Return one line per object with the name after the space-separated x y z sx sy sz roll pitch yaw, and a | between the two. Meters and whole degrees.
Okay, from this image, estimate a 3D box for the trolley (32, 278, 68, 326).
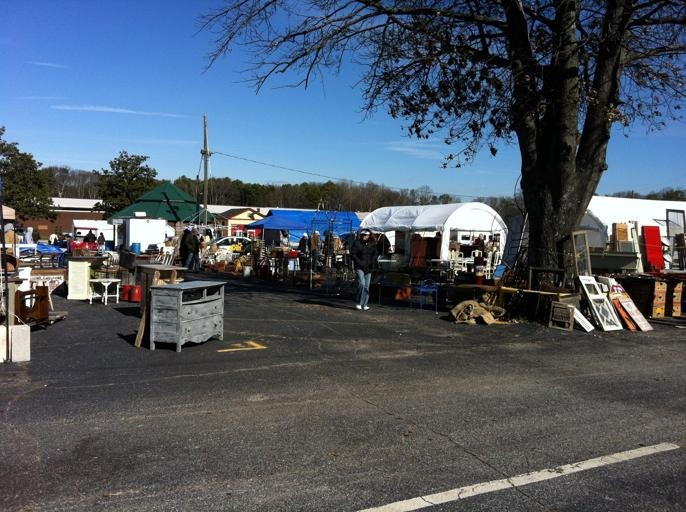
-5.908 0.988 10.163 0.445 0.754 0.776 -4 3 -13 | trolley

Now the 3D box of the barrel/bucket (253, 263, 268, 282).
-3.696 0.689 22.984 0.464 0.677 1.344 -1 4 -34 | barrel/bucket

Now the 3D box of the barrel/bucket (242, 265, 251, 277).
-4.478 0.740 24.034 0.454 0.580 0.395 2 -6 2 | barrel/bucket

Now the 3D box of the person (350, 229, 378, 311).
0.586 0.396 14.217 0.671 2.172 1.293 1 3 2 | person

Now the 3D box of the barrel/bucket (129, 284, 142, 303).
-5.727 1.061 14.087 0.229 0.439 0.405 -2 4 -42 | barrel/bucket

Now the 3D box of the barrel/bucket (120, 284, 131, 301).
-6.045 1.052 14.248 0.166 0.445 0.595 -2 4 -42 | barrel/bucket

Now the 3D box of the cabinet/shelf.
-2.723 1.048 9.038 0.619 1.113 1.259 3 4 35 | cabinet/shelf
